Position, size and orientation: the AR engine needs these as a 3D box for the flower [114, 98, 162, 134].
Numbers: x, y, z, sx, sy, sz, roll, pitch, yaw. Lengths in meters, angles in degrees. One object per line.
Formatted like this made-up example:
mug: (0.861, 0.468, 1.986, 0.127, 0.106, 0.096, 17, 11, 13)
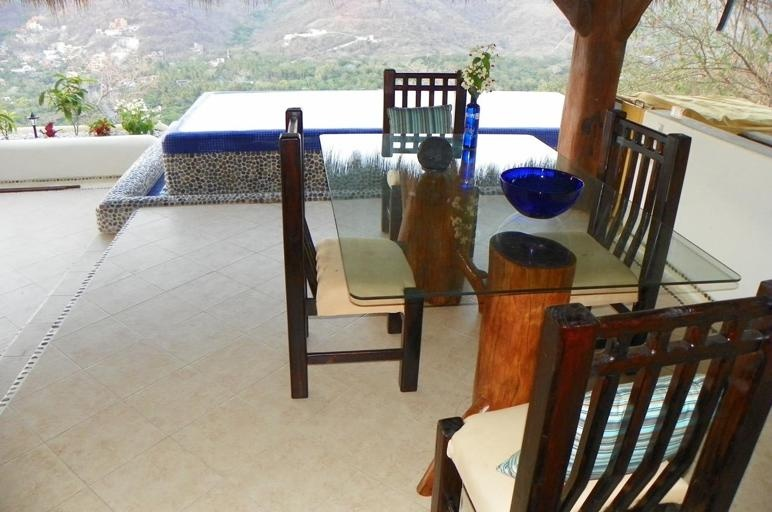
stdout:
flower: (-2.863, -1.616, 6.068, 0.486, 0.303, 0.415, 10, 14, 16)
